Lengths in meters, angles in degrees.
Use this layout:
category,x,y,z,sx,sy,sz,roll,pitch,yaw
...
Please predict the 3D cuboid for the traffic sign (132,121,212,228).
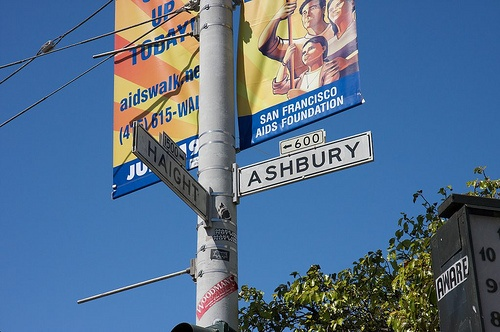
category,x,y,z,sx,sy,sz,roll,pitch,yaw
traffic sign,-1.017,0.029,13.366,0.209,0.901,1.565,-24,-45,30
